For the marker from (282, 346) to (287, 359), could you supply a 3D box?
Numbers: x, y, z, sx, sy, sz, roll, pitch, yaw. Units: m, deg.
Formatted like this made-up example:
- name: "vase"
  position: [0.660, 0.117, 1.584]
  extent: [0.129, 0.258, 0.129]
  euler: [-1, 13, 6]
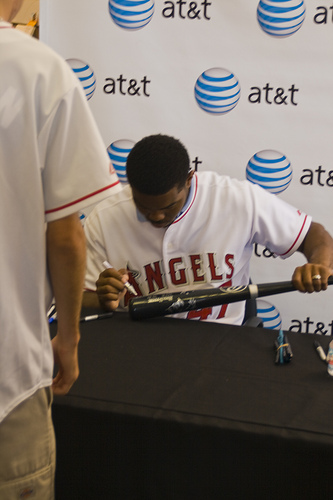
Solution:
- name: "marker"
  position: [0.248, 0.216, 1.155]
  extent: [0.011, 0.013, 0.043]
  euler: [4, 30, 10]

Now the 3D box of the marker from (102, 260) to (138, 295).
- name: "marker"
  position: [-0.130, 0.080, 1.555]
  extent: [0.120, 0.021, 0.022]
  euler: [47, 70, -3]

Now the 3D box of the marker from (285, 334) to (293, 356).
- name: "marker"
  position: [0.267, 0.209, 1.201]
  extent: [0.010, 0.010, 0.049]
  euler: [-17, 64, 11]

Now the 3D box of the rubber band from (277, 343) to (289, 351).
- name: "rubber band"
  position: [0.253, 0.210, 1.190]
  extent: [0.037, 0.006, 0.006]
  euler: [-21, 49, 19]

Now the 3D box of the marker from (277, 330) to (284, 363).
- name: "marker"
  position: [0.247, 0.207, 1.198]
  extent: [0.013, 0.011, 0.067]
  euler: [9, 29, 3]
